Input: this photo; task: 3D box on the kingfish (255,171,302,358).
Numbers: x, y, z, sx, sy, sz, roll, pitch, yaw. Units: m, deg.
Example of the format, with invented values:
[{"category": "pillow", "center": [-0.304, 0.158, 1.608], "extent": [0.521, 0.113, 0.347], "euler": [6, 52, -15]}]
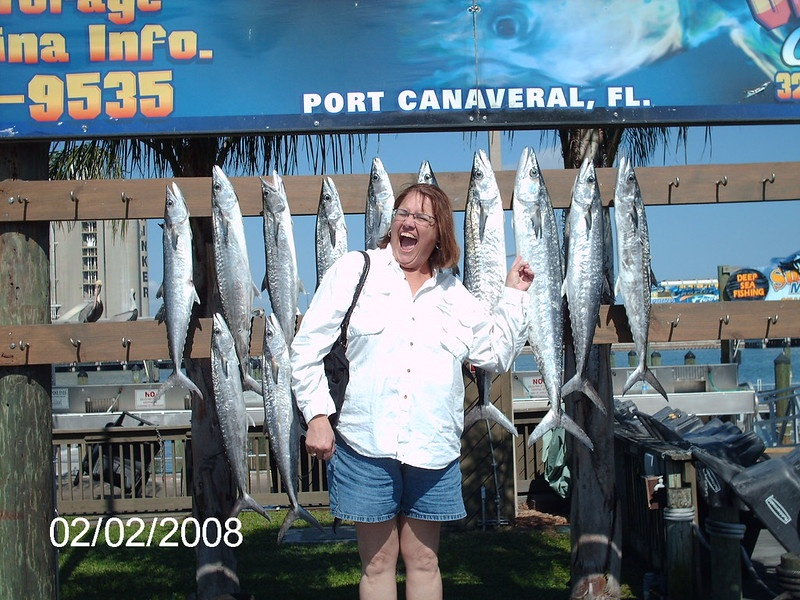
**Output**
[{"category": "kingfish", "center": [-1.037, -0.233, 13.214], "extent": [0.276, 1.660, 0.256], "euler": [-5, -3, 12]}]

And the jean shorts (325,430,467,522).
[{"category": "jean shorts", "center": [-0.114, 1.661, 12.958], "extent": [1.018, 0.861, 0.669], "euler": [3, -8, -14]}]

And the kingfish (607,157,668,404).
[{"category": "kingfish", "center": [2.099, -0.336, 13.937], "extent": [0.283, 1.892, 0.337], "euler": [-1, 2, 31]}]

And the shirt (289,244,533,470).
[{"category": "shirt", "center": [0.046, 0.444, 12.966], "extent": [2.034, 2.130, 0.886], "euler": [4, -7, -13]}]

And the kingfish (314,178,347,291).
[{"category": "kingfish", "center": [-0.623, -0.439, 14.045], "extent": [0.295, 1.653, 0.227], "euler": [5, 37, 2]}]

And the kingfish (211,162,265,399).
[{"category": "kingfish", "center": [-1.470, -0.170, 13.942], "extent": [0.391, 2.071, 0.250], "euler": [-2, 1, -9]}]

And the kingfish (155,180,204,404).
[{"category": "kingfish", "center": [-1.969, -0.116, 13.878], "extent": [0.316, 1.870, 0.307], "euler": [-2, 1, -9]}]
